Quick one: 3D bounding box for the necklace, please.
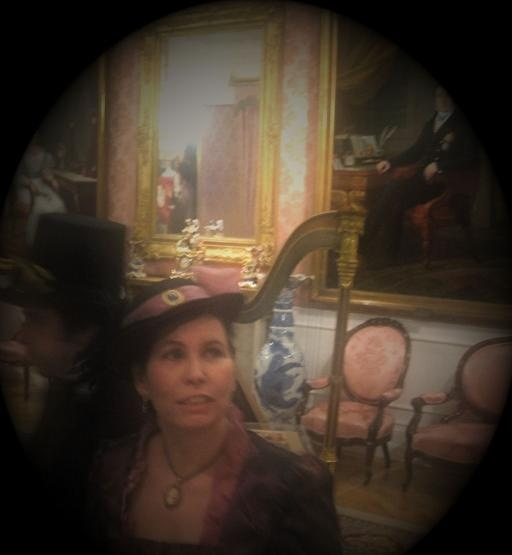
[{"bbox_3d":[-0.234,0.664,1.927,0.179,0.268,0.062,7,0,3],"label":"necklace"}]
